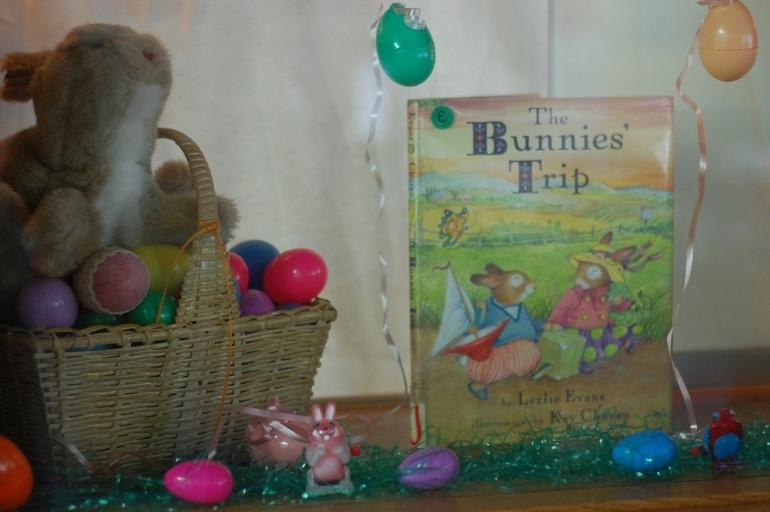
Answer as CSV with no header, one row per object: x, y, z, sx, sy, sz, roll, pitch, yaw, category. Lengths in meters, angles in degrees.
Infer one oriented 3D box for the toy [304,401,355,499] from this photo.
-0.096,0.331,1.508,0.082,0.157,0.031,-2,7,-11,toy

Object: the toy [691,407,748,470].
0.608,0.325,1.587,0.108,0.099,0.041,-2,7,-14,toy
